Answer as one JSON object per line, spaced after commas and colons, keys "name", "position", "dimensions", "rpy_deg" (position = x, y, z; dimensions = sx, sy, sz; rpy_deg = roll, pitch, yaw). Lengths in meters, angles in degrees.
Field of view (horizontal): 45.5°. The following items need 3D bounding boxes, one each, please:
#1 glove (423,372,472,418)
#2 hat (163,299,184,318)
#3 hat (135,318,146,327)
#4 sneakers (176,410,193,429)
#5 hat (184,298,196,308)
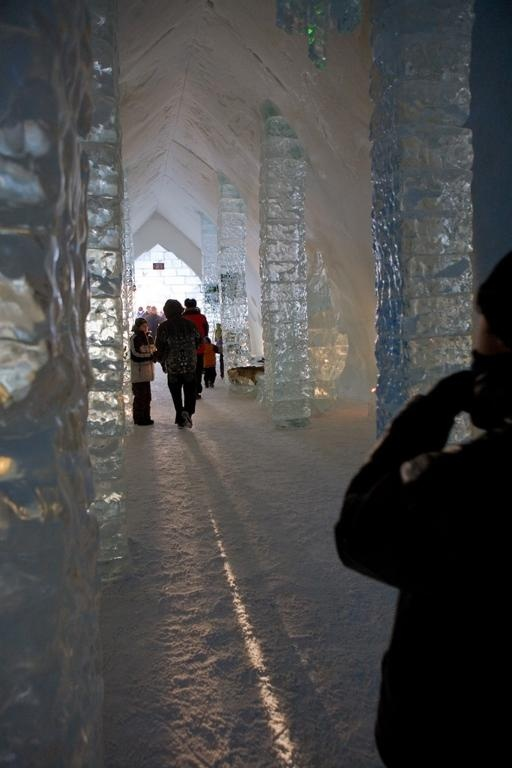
{"name": "glove", "position": [0.229, 0.010, 0.713], "dimensions": [0.014, 0.040, 0.056], "rpy_deg": [1, -18, -46]}
{"name": "hat", "position": [-0.740, -0.680, 5.473], "dimensions": [0.139, 0.154, 0.194], "rpy_deg": [-3, 17, -7]}
{"name": "hat", "position": [-1.073, -0.573, 5.714], "dimensions": [0.097, 0.100, 0.076], "rpy_deg": [9, 5, -14]}
{"name": "sneakers", "position": [-0.672, 0.346, 5.784], "dimensions": [0.084, 0.109, 0.197], "rpy_deg": [27, 30, -26]}
{"name": "hat", "position": [-0.764, -0.948, 7.132], "dimensions": [0.130, 0.158, 0.165], "rpy_deg": [1, 10, 0]}
